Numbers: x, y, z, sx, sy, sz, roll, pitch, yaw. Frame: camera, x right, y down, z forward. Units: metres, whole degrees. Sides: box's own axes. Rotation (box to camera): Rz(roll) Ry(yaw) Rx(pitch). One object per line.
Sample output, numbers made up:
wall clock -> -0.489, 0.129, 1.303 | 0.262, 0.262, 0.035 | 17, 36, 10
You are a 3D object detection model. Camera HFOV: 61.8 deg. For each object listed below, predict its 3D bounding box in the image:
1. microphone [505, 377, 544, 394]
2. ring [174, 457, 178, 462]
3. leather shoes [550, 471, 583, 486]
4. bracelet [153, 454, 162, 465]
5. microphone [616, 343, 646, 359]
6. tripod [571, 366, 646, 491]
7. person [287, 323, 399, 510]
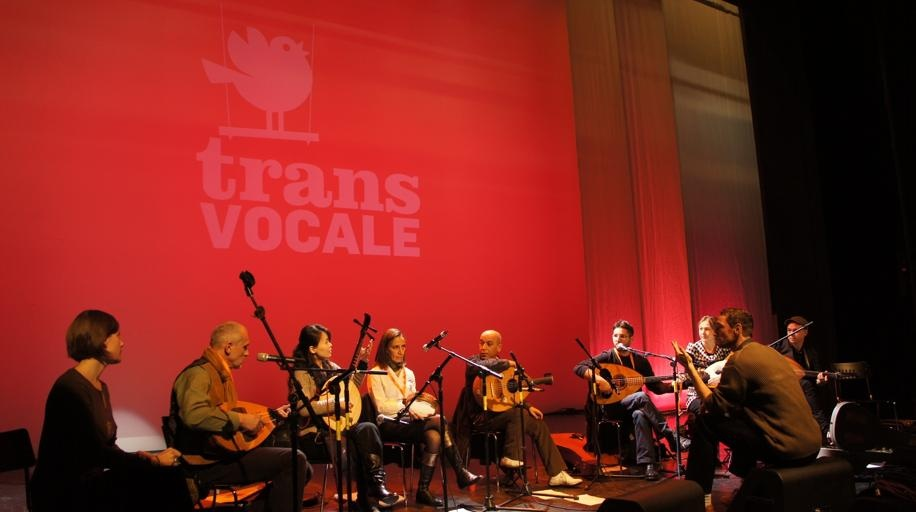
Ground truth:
microphone -> 0.853, 1.676, 9.943 | 0.446, 0.187, 0.061 | 0, -20, 0
ring -> -3.053, 2.218, 8.297 | 0.032, 0.034, 0.066 | 0, -10, -23
leather shoes -> 1.471, 2.941, 10.128 | 0.470, 0.200, 0.174 | 0, -6, -1
bracelet -> -3.202, 2.174, 8.150 | 0.083, 0.081, 0.083 | -2, -19, -24
microphone -> 2.508, 1.380, 11.132 | 0.605, 0.083, 0.230 | 12, -7, -17
tripod -> 2.258, 2.292, 10.660 | 0.861, 1.492, 0.386 | 0, -8, 2
person -> -1.397, 2.013, 9.420 | 1.234, 2.332, 0.598 | -4, -6, -25
